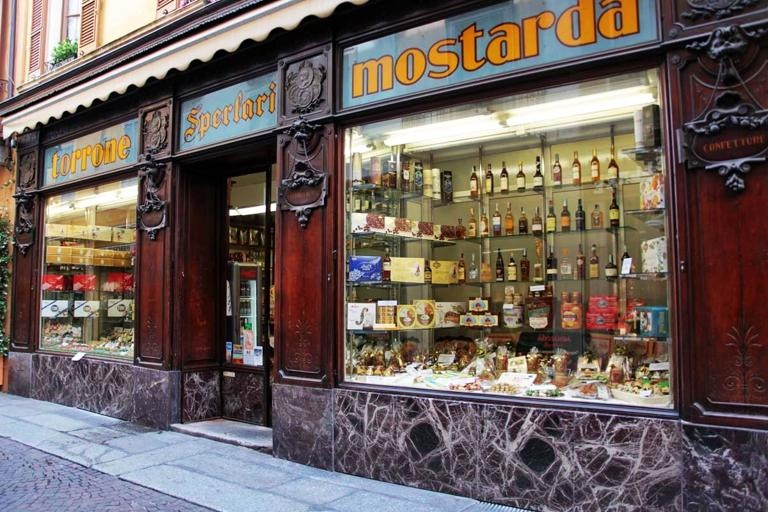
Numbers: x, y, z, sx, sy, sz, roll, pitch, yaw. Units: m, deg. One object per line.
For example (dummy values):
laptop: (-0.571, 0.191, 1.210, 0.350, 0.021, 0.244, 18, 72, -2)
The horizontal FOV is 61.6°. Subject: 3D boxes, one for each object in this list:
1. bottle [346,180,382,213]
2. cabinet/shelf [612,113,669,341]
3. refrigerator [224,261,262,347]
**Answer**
bottle: (-0.278, -0.769, 8.174, 0.435, 0.414, 0.197, 1, 2, -39)
cabinet/shelf: (2.775, -0.375, 7.139, 0.341, 2.550, 1.300, 0, 6, 3)
refrigerator: (-2.110, 0.709, 9.763, 0.711, 1.239, 0.283, 3, 7, 32)
